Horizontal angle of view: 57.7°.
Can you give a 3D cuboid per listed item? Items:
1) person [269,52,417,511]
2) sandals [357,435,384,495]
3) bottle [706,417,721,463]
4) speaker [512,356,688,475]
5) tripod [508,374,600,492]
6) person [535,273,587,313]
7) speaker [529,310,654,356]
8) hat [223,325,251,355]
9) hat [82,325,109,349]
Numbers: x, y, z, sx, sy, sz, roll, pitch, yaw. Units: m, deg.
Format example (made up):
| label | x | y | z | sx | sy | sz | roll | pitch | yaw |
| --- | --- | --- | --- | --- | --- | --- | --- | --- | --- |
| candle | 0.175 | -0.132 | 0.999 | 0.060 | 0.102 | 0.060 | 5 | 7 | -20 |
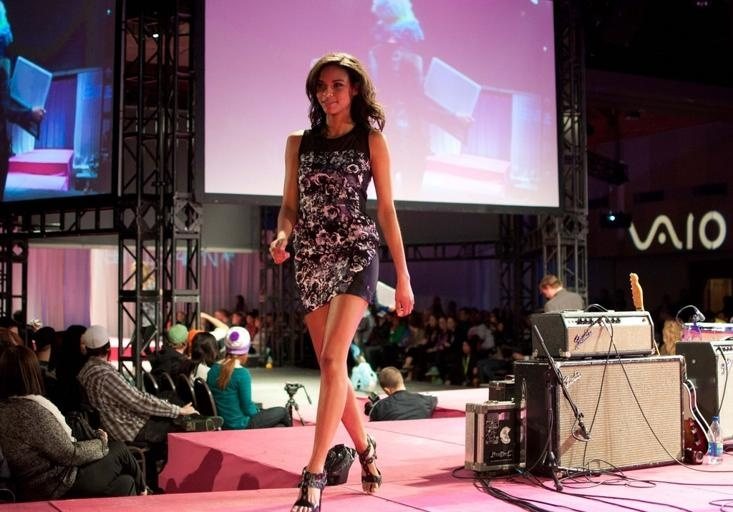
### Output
| label | x | y | z | sx | sy | sz | roll | pitch | yaw |
| --- | --- | --- | --- | --- | --- | --- | --- | --- | --- |
| person | -0.149 | 0.119 | 3.810 | 0.787 | 2.591 | 0.418 | 1 | -6 | -8 |
| sandals | 0.025 | 1.261 | 3.954 | 0.116 | 0.360 | 0.148 | -3 | 5 | 23 |
| bottle | 2.501 | 1.329 | 4.795 | 0.092 | 0.303 | 0.322 | -3 | -7 | 29 |
| speaker | 1.576 | 1.011 | 4.686 | 1.167 | 0.854 | 0.717 | 1 | -4 | -17 |
| tripod | 1.188 | 1.117 | 4.274 | 0.454 | 0.699 | 0.362 | -1 | -6 | 17 |
| person | 2.462 | 0.474 | 8.485 | 0.486 | 0.489 | 0.719 | -2 | -7 | 20 |
| speaker | 1.584 | 0.559 | 4.635 | 0.916 | 0.325 | 0.217 | 3 | -6 | -20 |
| hat | -1.310 | 0.909 | 6.781 | 0.211 | 0.148 | 0.300 | -3 | 33 | -11 |
| hat | -2.379 | 0.685 | 5.899 | 0.181 | 0.254 | 0.140 | -3 | -47 | -13 |
